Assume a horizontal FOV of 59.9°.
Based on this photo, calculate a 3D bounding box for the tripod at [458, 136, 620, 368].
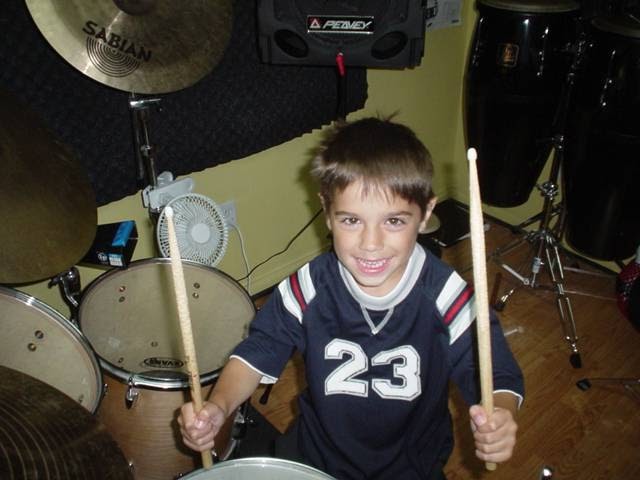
[{"bbox_3d":[0.950,0.060,2.316,0.586,0.748,0.947,5,-30,9],"label":"tripod"}]

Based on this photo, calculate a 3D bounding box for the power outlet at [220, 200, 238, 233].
[{"bbox_3d":[-0.403,-0.113,2.488,0.022,0.116,0.097,-1,13,24],"label":"power outlet"}]
